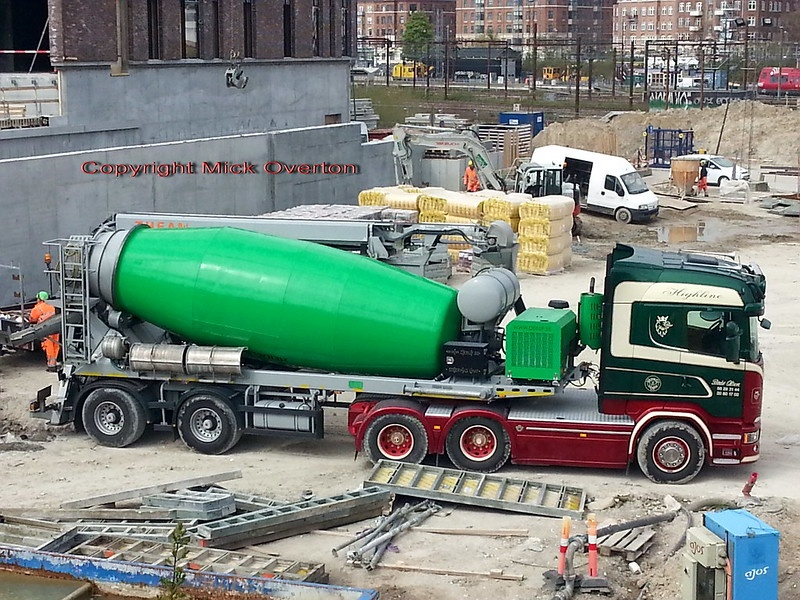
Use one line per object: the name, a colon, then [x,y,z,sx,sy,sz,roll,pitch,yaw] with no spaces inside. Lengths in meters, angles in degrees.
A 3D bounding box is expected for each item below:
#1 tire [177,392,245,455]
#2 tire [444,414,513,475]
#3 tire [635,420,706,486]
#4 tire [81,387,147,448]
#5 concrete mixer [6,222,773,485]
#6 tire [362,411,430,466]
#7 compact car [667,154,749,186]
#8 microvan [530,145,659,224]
tire: [-3.022,1.946,16.951,0.874,0.946,0.317,-2,11,10]
tire: [1.200,2.170,16.086,0.837,0.906,0.278,1,2,9]
tire: [4.053,2.253,15.784,0.812,0.880,0.294,-5,9,10]
tire: [-4.649,1.891,17.261,0.859,0.932,0.312,2,9,12]
concrete mixer: [-0.452,0.811,17.287,11.317,3.708,3.041,1,-2,7]
tire: [-0.031,2.110,16.239,0.769,0.829,0.254,0,7,7]
compact car: [13.067,-5.177,44.367,2.831,1.344,1.685,2,12,24]
microvan: [6.858,-4.123,37.390,4.650,2.348,1.768,15,19,32]
